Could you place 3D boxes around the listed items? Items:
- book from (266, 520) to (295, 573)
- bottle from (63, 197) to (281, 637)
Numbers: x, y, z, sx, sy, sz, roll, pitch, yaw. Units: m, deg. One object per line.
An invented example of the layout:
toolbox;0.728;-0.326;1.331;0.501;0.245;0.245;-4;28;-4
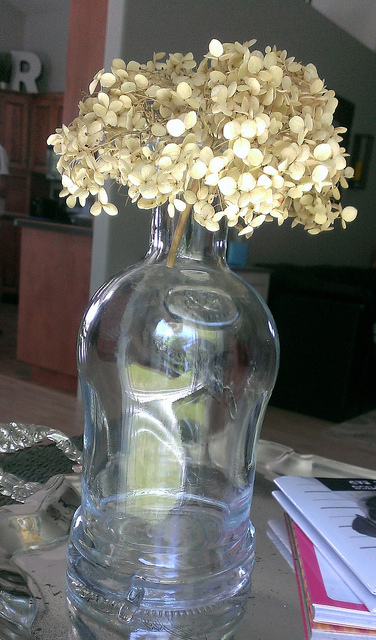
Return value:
book;0.124;0.277;0.733;0.015;0.068;0.066;-29;-19;11
bottle;-0.028;0.093;0.551;0.221;0.395;0.154;-3;10;8
